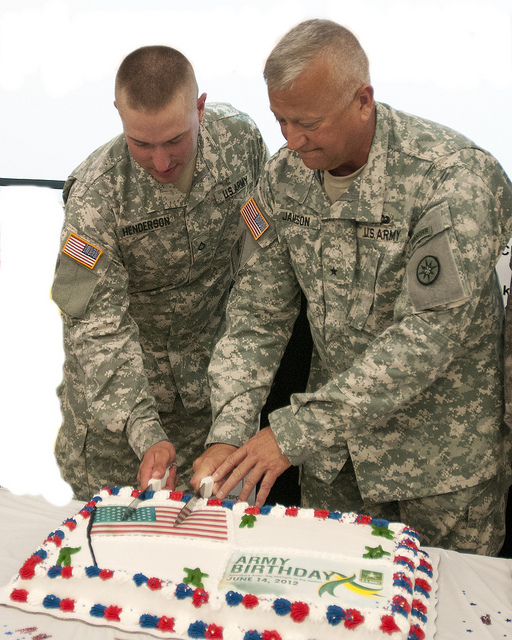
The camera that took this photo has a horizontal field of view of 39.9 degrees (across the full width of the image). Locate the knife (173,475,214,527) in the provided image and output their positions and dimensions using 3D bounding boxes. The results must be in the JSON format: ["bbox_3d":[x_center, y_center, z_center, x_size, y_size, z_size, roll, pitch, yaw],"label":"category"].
[{"bbox_3d":[-0.177,0.540,2.108,0.022,0.050,0.203,-55,-5,33],"label":"knife"}]

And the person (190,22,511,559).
[{"bbox_3d":[0.316,-0.025,2.256,1.024,1.437,0.748,-4,1,34],"label":"person"}]

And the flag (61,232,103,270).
[{"bbox_3d":[-0.637,-0.247,2.552,0.136,0.087,0.014,32,-9,-7],"label":"flag"}]

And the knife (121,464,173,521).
[{"bbox_3d":[-0.337,0.533,2.198,0.038,0.073,0.241,8,29,29],"label":"knife"}]

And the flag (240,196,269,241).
[{"bbox_3d":[-0.004,-0.366,2.533,0.044,0.150,0.137,-6,1,-23],"label":"flag"}]
